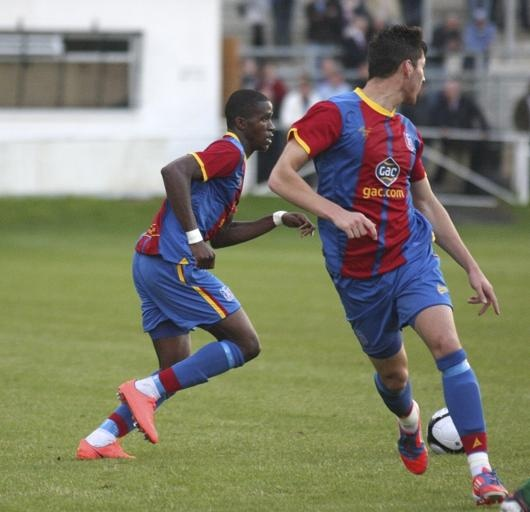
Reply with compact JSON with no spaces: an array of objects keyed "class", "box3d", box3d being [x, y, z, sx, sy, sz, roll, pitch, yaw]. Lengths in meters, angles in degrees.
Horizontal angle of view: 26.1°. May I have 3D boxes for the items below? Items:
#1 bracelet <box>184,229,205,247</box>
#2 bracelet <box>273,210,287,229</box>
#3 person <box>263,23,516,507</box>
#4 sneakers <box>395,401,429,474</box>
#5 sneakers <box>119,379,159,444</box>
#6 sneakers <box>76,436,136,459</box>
[{"class":"bracelet","box3d":[-0.378,-0.081,6.012,0.086,0.063,0.080,-28,5,-9]},{"class":"bracelet","box3d":[0.089,-0.210,6.499,0.078,0.061,0.083,-9,-8,10]},{"class":"person","box3d":[0.697,-0.005,5.793,1.133,2.305,0.776,5,9,30]},{"class":"sneakers","box3d":[0.763,0.976,5.949,0.113,0.319,0.132,-15,-14,16]},{"class":"sneakers","box3d":[-0.664,0.815,5.926,0.198,0.292,0.234,-1,8,-7]},{"class":"sneakers","box3d":[-0.859,1.032,6.118,0.328,0.121,0.112,1,-1,-13]}]
